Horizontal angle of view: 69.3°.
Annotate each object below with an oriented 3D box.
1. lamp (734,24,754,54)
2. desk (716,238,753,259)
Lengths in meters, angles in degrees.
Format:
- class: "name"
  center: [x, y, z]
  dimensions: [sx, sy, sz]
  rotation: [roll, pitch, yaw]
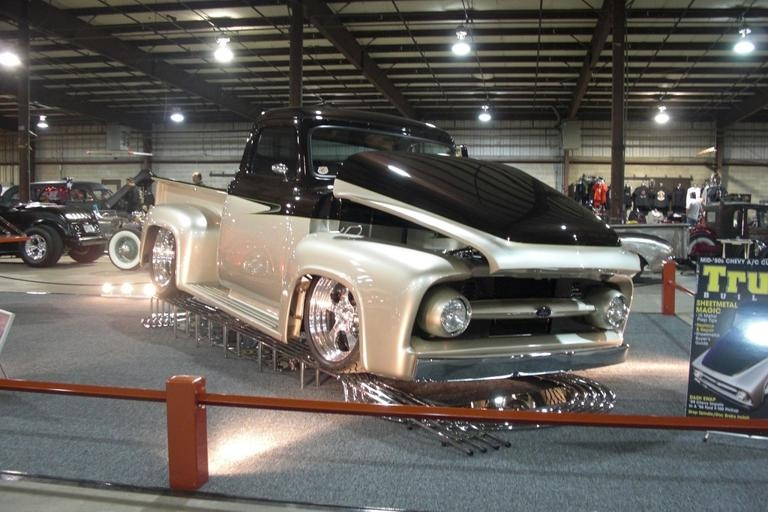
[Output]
- class: "lamp"
  center: [8.999, -5.427, 13.885]
  dimensions: [0.364, 0.597, 0.833]
  rotation: [7, 11, 33]
- class: "desk"
  center: [7.433, -0.189, 11.771]
  dimensions: [0.380, 0.410, 0.266]
  rotation: [3, 2, 34]
